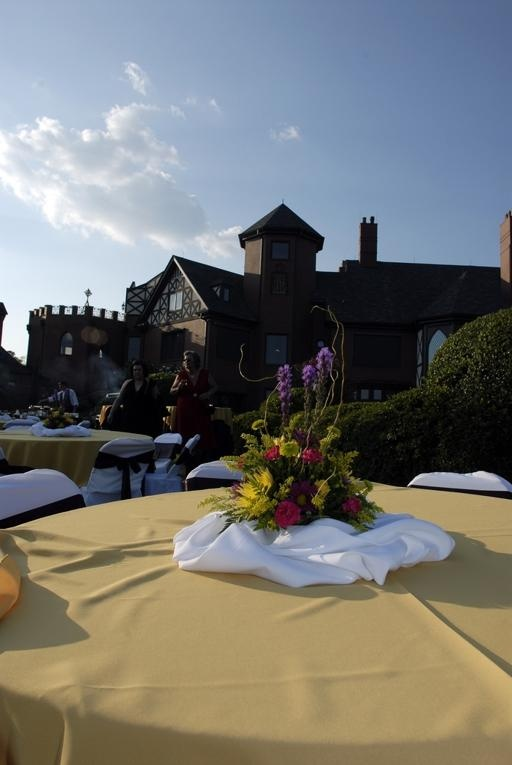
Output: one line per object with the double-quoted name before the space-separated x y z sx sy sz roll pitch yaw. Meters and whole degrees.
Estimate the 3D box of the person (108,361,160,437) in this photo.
"person" -1.369 0.193 5.937 0.573 0.833 0.929 1 -2 -26
